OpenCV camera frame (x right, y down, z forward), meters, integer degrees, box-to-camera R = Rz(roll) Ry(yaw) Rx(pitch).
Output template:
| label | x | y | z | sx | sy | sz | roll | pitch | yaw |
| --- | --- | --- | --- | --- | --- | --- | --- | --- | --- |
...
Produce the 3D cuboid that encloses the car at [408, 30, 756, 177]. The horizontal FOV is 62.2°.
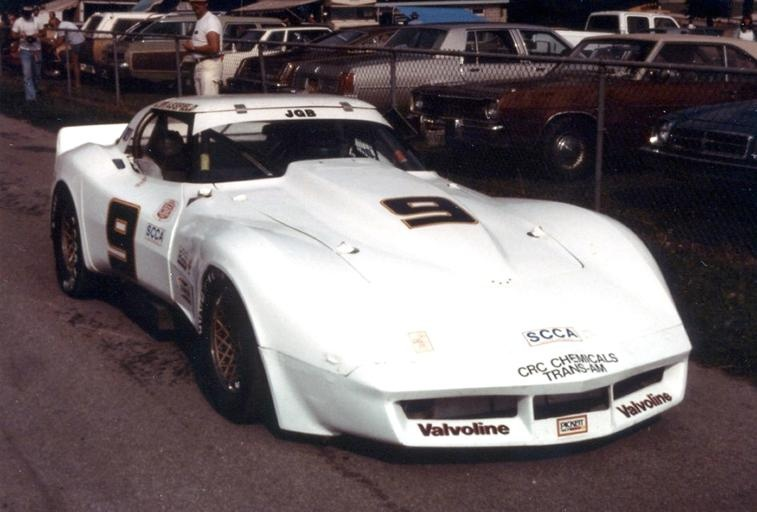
| label | x | y | z | sx | sy | sz | roll | pitch | yaw |
| --- | --- | --- | --- | --- | --- | --- | --- | --- | --- |
| car | 3.850 | -1.931 | 8.682 | 5.173 | 1.616 | 2.345 | -6 | 14 | -25 |
